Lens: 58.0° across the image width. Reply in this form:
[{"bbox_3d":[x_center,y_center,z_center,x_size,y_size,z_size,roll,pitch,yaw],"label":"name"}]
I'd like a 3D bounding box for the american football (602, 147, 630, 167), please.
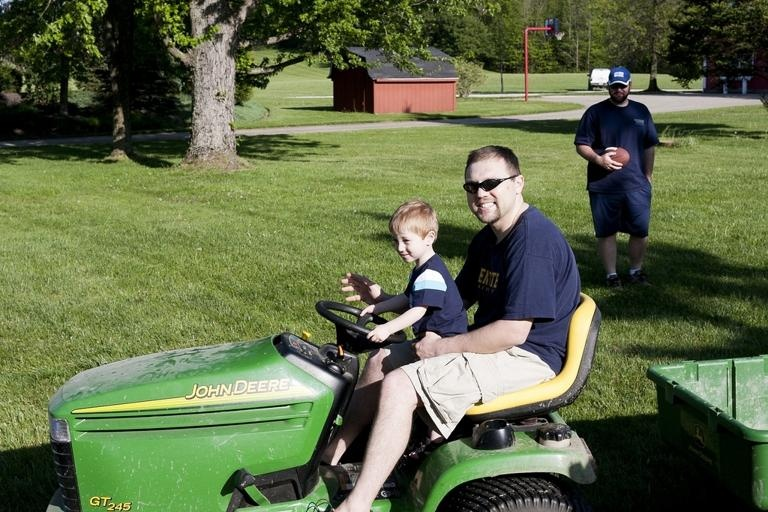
[{"bbox_3d":[2.682,-1.149,7.969,0.253,0.200,0.197,30,1,10],"label":"american football"}]

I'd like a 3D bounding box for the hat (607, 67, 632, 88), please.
[{"bbox_3d":[2.765,-2.114,8.111,0.216,0.197,0.348,2,8,20],"label":"hat"}]

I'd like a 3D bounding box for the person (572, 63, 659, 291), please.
[{"bbox_3d":[2.745,-0.933,8.221,0.898,2.533,0.610,3,10,20],"label":"person"}]

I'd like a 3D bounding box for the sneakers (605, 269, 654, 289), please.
[{"bbox_3d":[2.971,0.281,8.407,0.610,0.288,0.224,2,27,-3],"label":"sneakers"}]
